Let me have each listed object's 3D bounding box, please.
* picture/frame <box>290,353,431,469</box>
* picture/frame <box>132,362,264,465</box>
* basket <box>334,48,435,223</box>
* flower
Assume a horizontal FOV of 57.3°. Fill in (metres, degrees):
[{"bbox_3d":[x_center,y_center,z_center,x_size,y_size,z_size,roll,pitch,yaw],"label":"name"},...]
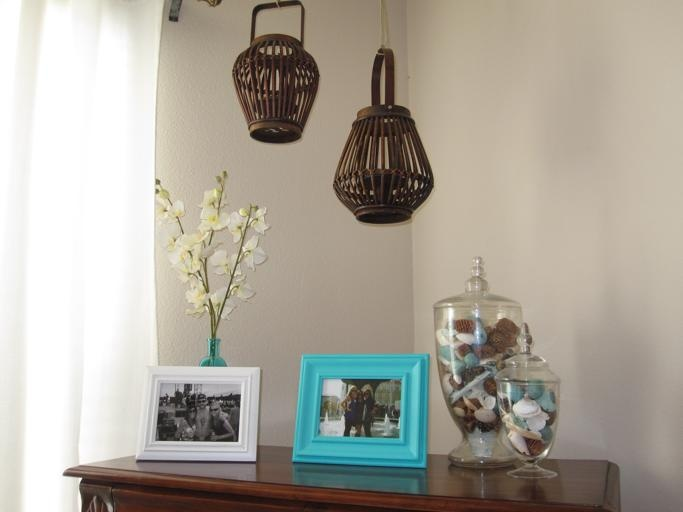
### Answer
[{"bbox_3d":[0.062,0.464,1.843,0.325,0.279,0.023,0,-19,13],"label":"picture/frame"},{"bbox_3d":[-0.441,0.497,1.940,0.379,0.298,0.030,0,-26,4],"label":"picture/frame"},{"bbox_3d":[0.115,-0.329,1.671,0.268,0.486,0.220,-6,7,-25],"label":"basket"},{"bbox_3d":[-0.450,0.004,2.322,0.428,0.642,0.537,-5,6,-17],"label":"flower"}]
